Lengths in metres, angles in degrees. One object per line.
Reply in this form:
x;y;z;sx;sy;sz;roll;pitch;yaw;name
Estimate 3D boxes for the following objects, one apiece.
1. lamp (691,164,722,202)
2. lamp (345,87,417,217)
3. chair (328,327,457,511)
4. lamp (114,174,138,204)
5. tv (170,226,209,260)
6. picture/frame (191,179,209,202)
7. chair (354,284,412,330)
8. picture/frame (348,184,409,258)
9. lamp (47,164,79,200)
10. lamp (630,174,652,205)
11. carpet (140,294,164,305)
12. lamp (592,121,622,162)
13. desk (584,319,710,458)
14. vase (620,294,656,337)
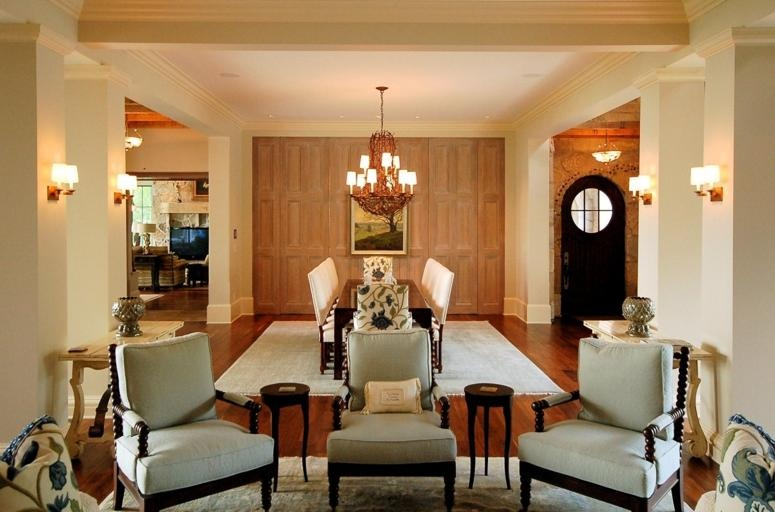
2.912;-0.662;5.166;0.219;0.338;0.319;0;3;11;lamp
-0.114;-1.555;8.443;1.099;1.831;1.031;4;12;14;lamp
0.039;1.236;4.882;1.051;1.226;1.370;-1;-7;1;chair
-2.896;-0.738;6.259;0.210;0.342;0.513;-1;3;-11;lamp
-5.793;-0.349;16.270;1.052;0.796;0.158;1;1;-2;tv
-5.283;-1.829;15.903;0.475;0.543;0.183;0;4;19;picture/frame
-0.053;0.575;6.301;0.560;0.446;0.536;0;0;1;chair
-0.204;-0.607;9.722;1.479;1.351;0.063;0;1;-2;picture/frame
-2.927;-0.666;5.126;0.217;0.336;0.278;-1;3;-5;lamp
2.808;-0.727;6.281;0.189;0.331;0.299;-1;3;4;lamp
-5.353;0.929;12.776;0.481;0.089;1.935;-2;3;-23;carpet
4.043;-2.023;10.356;0.619;0.835;0.610;3;13;29;lamp
2.091;1.105;4.525;0.464;0.614;1.262;0;-1;1;desk
2.406;0.587;5.391;0.309;0.369;0.309;1;-6;26;vase
